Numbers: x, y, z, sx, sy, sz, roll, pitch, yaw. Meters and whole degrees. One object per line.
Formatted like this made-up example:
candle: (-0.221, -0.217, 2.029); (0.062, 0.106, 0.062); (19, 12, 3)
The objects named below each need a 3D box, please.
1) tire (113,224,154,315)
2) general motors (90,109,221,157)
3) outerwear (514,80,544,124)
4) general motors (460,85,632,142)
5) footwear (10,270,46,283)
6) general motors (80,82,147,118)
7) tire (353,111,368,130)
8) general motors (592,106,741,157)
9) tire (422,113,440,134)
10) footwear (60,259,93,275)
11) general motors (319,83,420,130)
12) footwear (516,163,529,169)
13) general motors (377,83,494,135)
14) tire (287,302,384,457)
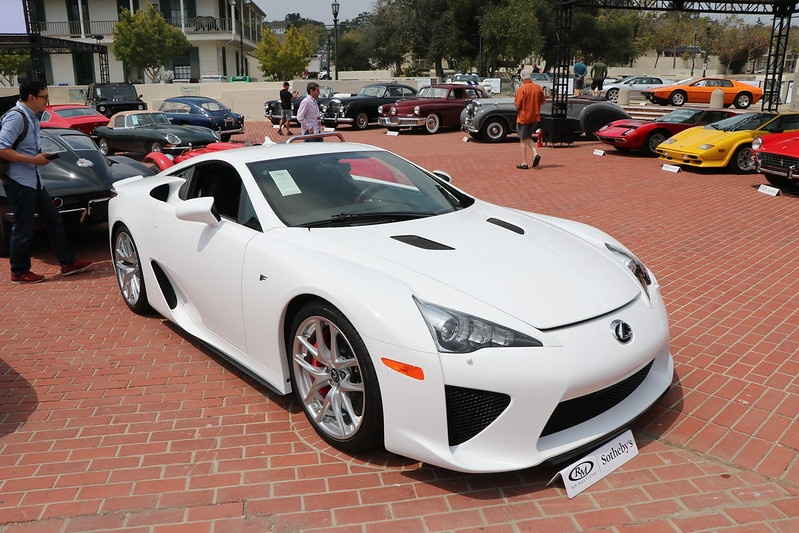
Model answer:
tire: (-2.831, 0.005, 5.182); (0.313, 0.837, 0.920); (-18, 22, -41)
general motors: (-8.293, -4.555, 16.302); (4.661, 1.317, 2.292); (12, 24, 28)
outerwear: (3.460, -4.469, 12.930); (0.718, 1.152, 0.929); (6, 21, 13)
general motors: (5.445, -5.822, 18.419); (4.970, 1.296, 2.499); (2, 21, 8)
footwear: (-4.920, 0.150, 6.419); (0.443, 0.162, 0.160); (-3, 17, -18)
general motors: (-14.870, -8.917, 25.468); (2.365, 1.726, 3.909); (-15, 33, -33)
tire: (-1.888, -7.278, 23.500); (0.315, 0.706, 0.789); (10, 19, 43)
general motors: (9.323, -4.192, 15.378); (4.461, 1.142, 2.049); (4, 16, 6)
tire: (1.414, -6.544, 21.530); (0.272, 0.769, 0.857); (11, 17, 41)
footwear: (-4.461, -0.009, 6.755); (0.139, 0.146, 0.382); (23, 27, 32)
general motors: (-1.849, -8.134, 23.971); (5.346, 1.656, 2.130); (-13, 19, -35)
footwear: (3.428, -2.866, 13.566); (0.132, 0.110, 0.308); (-8, 14, -44)
general motors: (1.646, -7.321, 22.100); (5.004, 1.535, 2.313); (-11, 18, -33)
tire: (-0.407, 0.758, 3.257); (0.337, 0.908, 0.981); (-11, -7, -38)
